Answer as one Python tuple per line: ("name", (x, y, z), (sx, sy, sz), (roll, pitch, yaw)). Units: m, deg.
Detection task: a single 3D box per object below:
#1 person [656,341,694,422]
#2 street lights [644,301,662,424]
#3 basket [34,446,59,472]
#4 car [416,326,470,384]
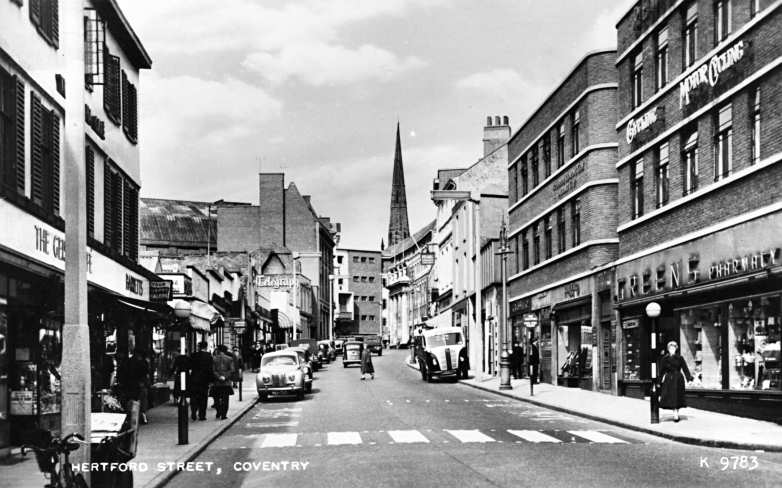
("person", (8.900, 4.231, 34.512), (0.938, 2.678, 0.808), (-1, -1, -22))
("street lights", (8.971, 3.945, 37.932), (0.436, 3.824, 0.482), (0, 0, -3))
("basket", (-7.268, 4.514, 23.480), (0.473, 0.560, 0.469), (-4, 0, -18))
("car", (2.702, 6.115, 60.278), (1.700, 1.939, 3.441), (-1, -13, -8))
